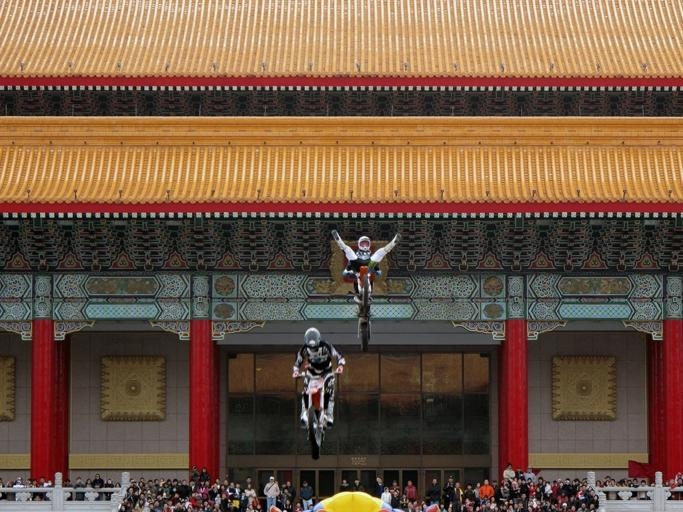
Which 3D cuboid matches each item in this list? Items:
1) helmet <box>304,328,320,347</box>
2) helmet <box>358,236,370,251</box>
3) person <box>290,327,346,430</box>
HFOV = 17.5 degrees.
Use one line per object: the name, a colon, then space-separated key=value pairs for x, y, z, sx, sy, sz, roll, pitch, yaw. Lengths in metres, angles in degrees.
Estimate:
helmet: x=-1.014 y=2.459 z=69.796 sx=0.508 sy=0.558 sz=0.584 roll=0 pitch=-11 yaw=7
helmet: x=0.711 y=-0.451 z=71.747 sx=0.363 sy=0.429 sz=0.435 roll=0 pitch=16 yaw=-2
person: x=-0.702 y=3.645 z=70.379 sx=1.329 sy=3.539 sz=1.015 roll=2 pitch=-9 yaw=-2
